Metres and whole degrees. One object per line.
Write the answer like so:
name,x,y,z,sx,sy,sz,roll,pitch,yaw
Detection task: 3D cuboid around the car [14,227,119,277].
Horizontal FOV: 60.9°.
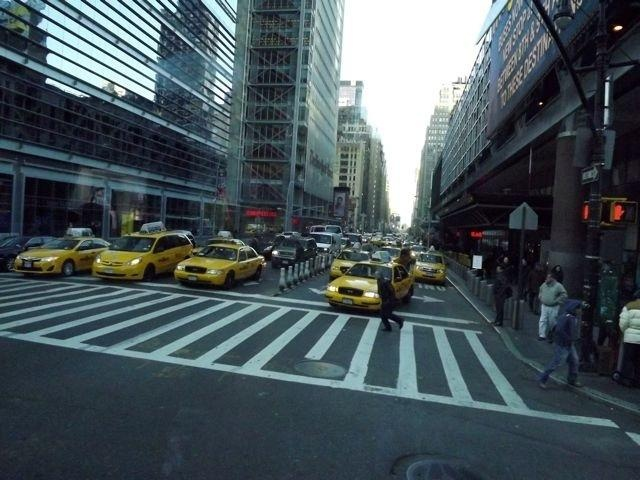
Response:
car,-10.275,0.633,21.635,1.345,1.429,3.330,3,1,20

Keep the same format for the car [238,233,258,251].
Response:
car,-5.039,0.081,37.674,1.043,1.406,2.568,-2,-2,0

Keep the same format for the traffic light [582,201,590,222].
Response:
traffic light,6.779,-0.715,13.891,0.088,0.372,0.372,6,18,5

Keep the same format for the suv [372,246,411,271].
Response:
suv,4.052,0.862,28.587,1.425,1.029,3.010,1,-4,21

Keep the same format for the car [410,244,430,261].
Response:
car,7.272,0.955,40.850,1.089,0.803,2.420,0,2,8

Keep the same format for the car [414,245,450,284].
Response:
car,5.929,1.564,29.421,1.721,1.796,2.397,3,1,11

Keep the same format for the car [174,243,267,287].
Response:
car,-3.981,1.011,21.883,1.778,1.600,3.869,4,1,19

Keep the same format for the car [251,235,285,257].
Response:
car,-3.393,0.385,35.012,1.243,1.073,2.056,3,1,24

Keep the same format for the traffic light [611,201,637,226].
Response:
traffic light,7.392,-0.702,13.439,0.662,0.686,0.503,1,5,20

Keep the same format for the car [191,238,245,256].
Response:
car,-5.081,0.110,26.315,1.182,0.866,2.606,-1,-4,37
